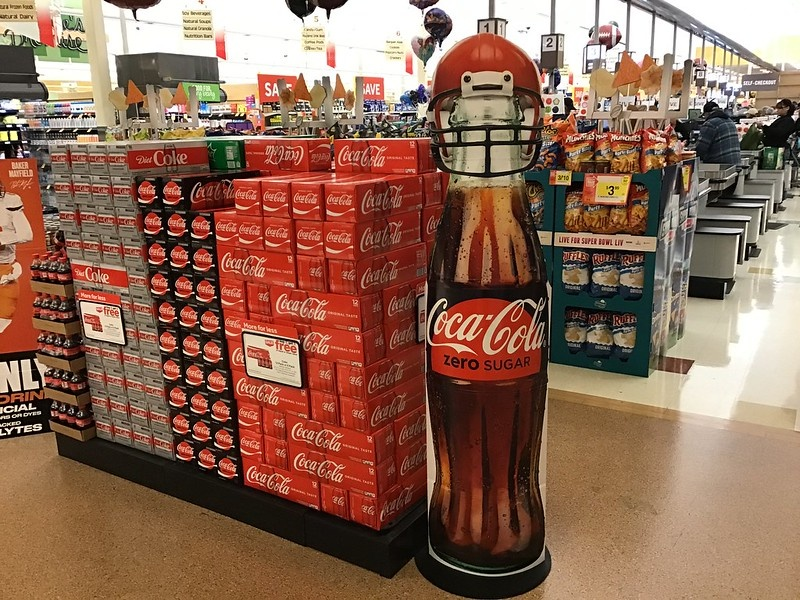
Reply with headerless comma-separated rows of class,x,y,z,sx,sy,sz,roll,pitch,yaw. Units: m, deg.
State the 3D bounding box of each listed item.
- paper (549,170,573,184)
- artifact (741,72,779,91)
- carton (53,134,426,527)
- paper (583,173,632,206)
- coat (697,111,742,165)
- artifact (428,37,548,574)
paper,1.206,-0.914,4.566,0.187,0.129,0.103,10,15,43
artifact,16.961,-10.211,28.529,1.134,0.771,1.591,-18,26,-41
carton,-0.767,0.147,3.033,1.965,1.946,1.084,1,5,23
paper,1.494,-0.793,4.338,0.215,0.155,0.030,12,21,32
coat,4.557,-2.311,8.682,0.474,0.714,0.635,-16,25,-38
artifact,0.373,0.092,2.500,0.530,2.205,0.431,0,19,2
